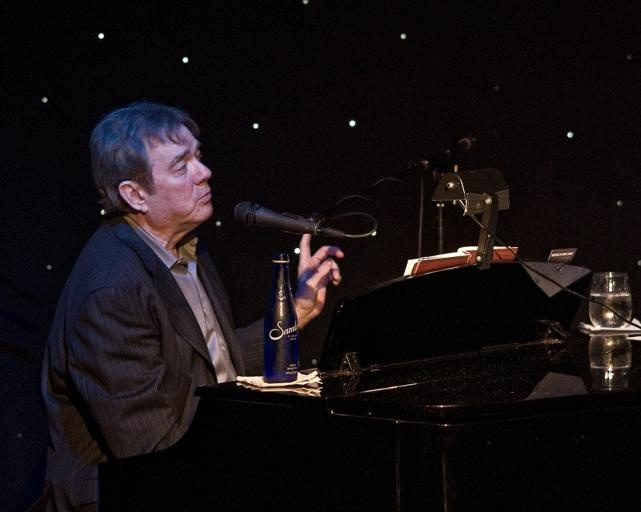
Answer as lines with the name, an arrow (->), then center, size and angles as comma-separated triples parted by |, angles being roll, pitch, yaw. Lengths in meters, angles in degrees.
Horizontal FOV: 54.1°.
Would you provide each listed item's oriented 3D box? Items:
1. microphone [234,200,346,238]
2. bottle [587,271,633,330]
microphone -> -0.139, -0.143, 2.392 | 0.467, 0.097, 0.095 | 13, -41, 18
bottle -> 1.048, 0.158, 2.339 | 0.188, 0.286, 0.201 | 0, -1, 0
